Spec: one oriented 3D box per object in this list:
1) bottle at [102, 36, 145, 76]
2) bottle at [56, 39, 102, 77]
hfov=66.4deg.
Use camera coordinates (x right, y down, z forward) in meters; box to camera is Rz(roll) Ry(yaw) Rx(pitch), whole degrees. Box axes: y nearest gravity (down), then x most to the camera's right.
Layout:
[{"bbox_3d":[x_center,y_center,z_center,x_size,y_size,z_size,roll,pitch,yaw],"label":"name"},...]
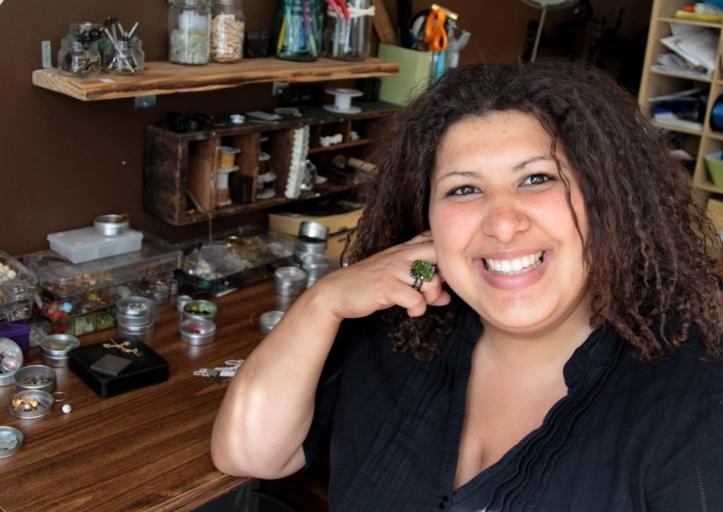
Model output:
[{"bbox_3d":[-0.783,-0.656,1.821,0.158,0.100,0.136,1,16,-3],"label":"bottle"},{"bbox_3d":[-0.921,-0.644,1.787,0.146,0.088,0.128,4,28,-14],"label":"bottle"}]
